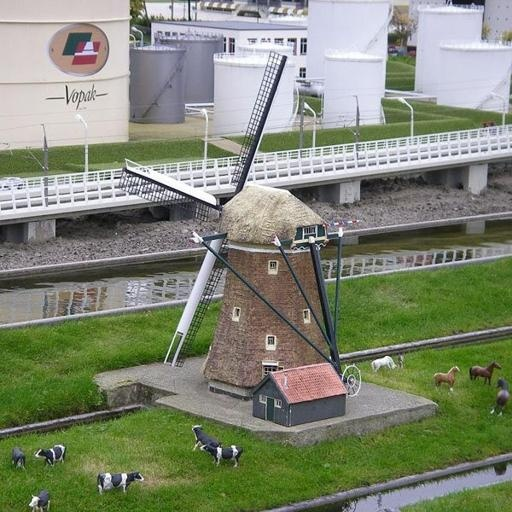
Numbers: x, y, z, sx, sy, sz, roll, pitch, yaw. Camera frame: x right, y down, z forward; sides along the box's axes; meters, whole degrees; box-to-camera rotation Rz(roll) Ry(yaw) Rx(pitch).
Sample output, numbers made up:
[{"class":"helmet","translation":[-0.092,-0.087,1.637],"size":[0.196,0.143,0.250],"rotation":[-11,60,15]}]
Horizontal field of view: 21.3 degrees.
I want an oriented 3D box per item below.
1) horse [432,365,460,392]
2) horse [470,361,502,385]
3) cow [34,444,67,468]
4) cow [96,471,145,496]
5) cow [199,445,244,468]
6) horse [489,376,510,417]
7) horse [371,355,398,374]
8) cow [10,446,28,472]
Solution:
[{"class":"horse","translation":[6.430,3.985,45.597],"size":[0.839,0.695,1.534],"rotation":[0,10,8]},{"class":"horse","translation":[7.781,3.852,46.097],"size":[0.933,0.700,1.378],"rotation":[2,11,19]},{"class":"cow","translation":[-6.027,5.768,39.895],"size":[1.035,0.617,0.422],"rotation":[2,-1,-7]},{"class":"cow","translation":[-3.951,6.428,38.782],"size":[1.476,0.683,0.498],"rotation":[-2,5,-9]},{"class":"cow","translation":[-1.155,5.839,40.020],"size":[1.459,0.848,0.517],"rotation":[3,2,7]},{"class":"horse","translation":[8.006,4.621,44.458],"size":[0.287,0.738,1.217],"rotation":[18,41,11]},{"class":"horse","translation":[4.443,3.660,46.904],"size":[1.231,0.445,0.565],"rotation":[-8,12,-32]},{"class":"cow","translation":[-6.948,5.834,39.472],"size":[0.229,0.448,0.790],"rotation":[-1,16,-25]}]
